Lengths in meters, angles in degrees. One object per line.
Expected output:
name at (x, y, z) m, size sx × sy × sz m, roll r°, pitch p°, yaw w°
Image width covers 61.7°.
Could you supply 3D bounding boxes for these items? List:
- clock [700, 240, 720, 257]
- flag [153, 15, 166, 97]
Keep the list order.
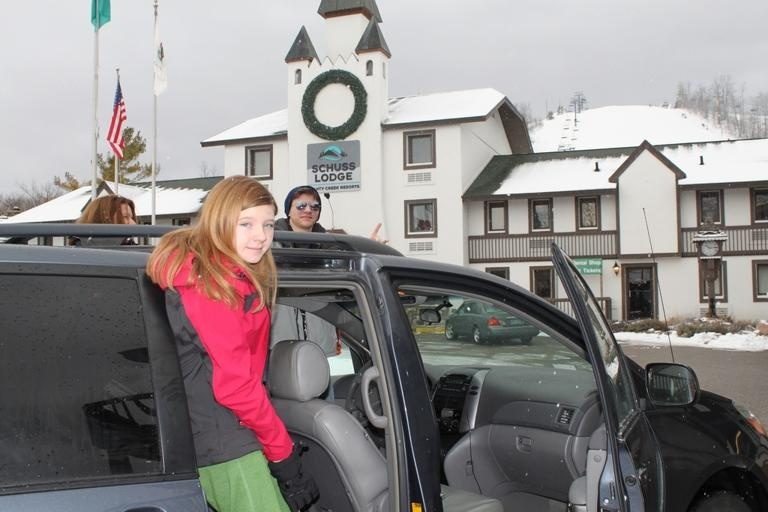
clock at (13.911, -0.369, 27.507) m, size 0.678 × 0.711 × 0.075 m, roll -1°, pitch -8°, yaw 14°
flag at (-9.791, -8.585, 28.152) m, size 0.448 × 2.838 × 1.571 m, roll 0°, pitch -2°, yaw -20°
